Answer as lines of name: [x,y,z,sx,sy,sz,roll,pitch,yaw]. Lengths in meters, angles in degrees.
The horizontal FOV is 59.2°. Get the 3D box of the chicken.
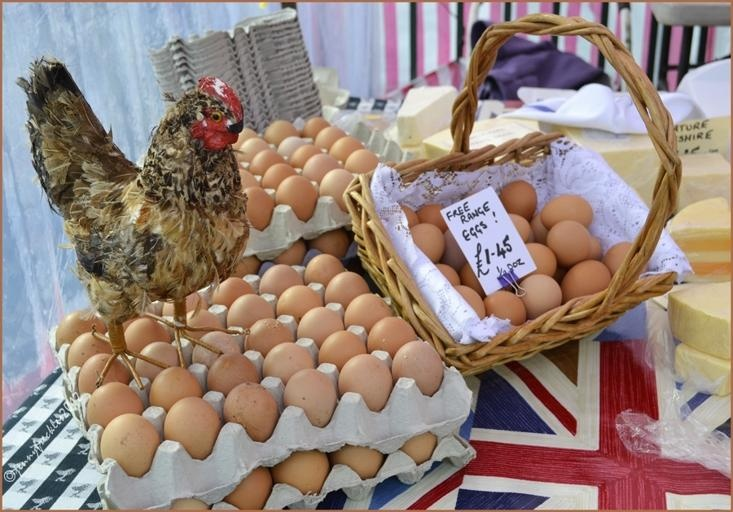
chicken: [-0.388,-0.099,1.281,0.353,0.542,0.511,12,35,5]
